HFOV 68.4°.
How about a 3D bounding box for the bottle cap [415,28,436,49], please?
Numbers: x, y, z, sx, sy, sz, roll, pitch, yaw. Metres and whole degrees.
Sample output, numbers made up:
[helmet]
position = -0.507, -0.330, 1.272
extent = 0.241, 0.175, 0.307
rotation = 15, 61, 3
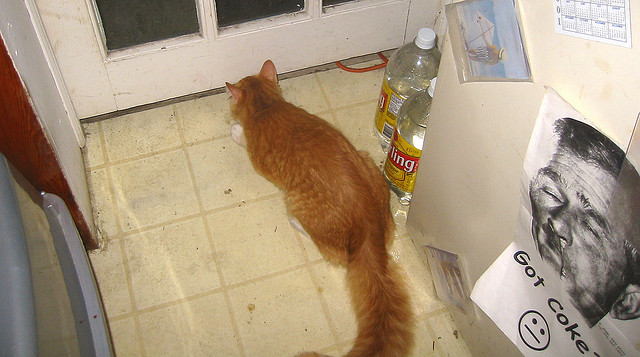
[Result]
[bottle cap]
position = 0.382, -0.504, 1.700
extent = 0.071, 0.043, 0.068
rotation = 4, 64, -7

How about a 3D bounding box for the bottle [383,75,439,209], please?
[bottle]
position = 0.338, -0.132, 1.783
extent = 0.134, 0.599, 0.253
rotation = -19, 37, -16
